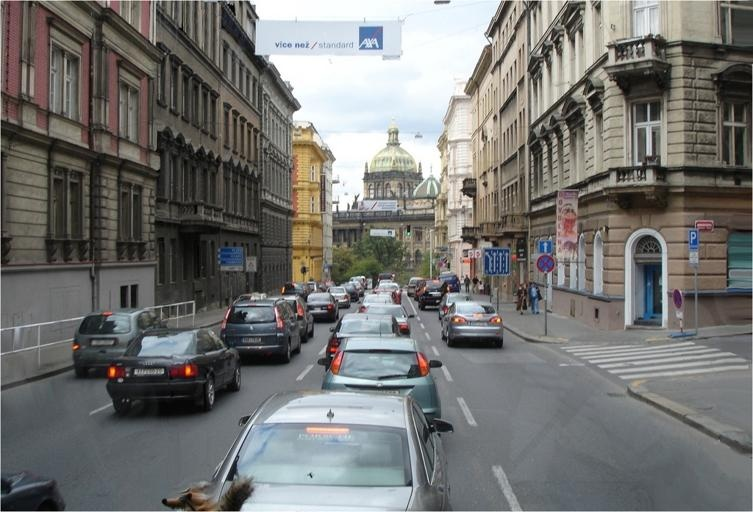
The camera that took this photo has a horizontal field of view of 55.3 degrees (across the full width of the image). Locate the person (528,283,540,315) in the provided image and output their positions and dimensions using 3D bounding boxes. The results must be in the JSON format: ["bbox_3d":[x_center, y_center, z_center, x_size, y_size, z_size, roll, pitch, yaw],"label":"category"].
[{"bbox_3d":[9.010,2.525,41.385,0.436,1.550,1.401,-2,-3,8],"label":"person"}]

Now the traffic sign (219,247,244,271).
[{"bbox_3d":[-9.310,0.158,46.370,1.132,1.293,0.424,0,-2,3],"label":"traffic sign"}]

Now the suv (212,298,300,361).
[{"bbox_3d":[-3.608,2.343,24.094,1.329,1.417,2.643,0,6,4],"label":"suv"}]

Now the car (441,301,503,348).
[{"bbox_3d":[3.701,2.640,27.943,2.060,1.819,2.246,-3,-3,3],"label":"car"}]

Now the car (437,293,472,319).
[{"bbox_3d":[3.349,2.144,31.119,1.319,1.318,3.310,0,4,7],"label":"car"}]

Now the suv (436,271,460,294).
[{"bbox_3d":[6.029,2.101,58.959,1.190,1.409,2.396,0,9,6],"label":"suv"}]

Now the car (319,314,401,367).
[{"bbox_3d":[-0.358,2.082,17.918,1.199,1.121,2.994,0,4,5],"label":"car"}]

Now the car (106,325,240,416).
[{"bbox_3d":[-4.726,2.672,16.972,2.986,1.918,1.703,-1,-3,-30],"label":"car"}]

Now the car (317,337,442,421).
[{"bbox_3d":[0.051,2.288,13.493,1.316,1.308,2.362,0,1,4],"label":"car"}]

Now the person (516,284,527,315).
[{"bbox_3d":[8.649,2.616,43.396,0.556,1.572,3.171,-3,-3,10],"label":"person"}]
